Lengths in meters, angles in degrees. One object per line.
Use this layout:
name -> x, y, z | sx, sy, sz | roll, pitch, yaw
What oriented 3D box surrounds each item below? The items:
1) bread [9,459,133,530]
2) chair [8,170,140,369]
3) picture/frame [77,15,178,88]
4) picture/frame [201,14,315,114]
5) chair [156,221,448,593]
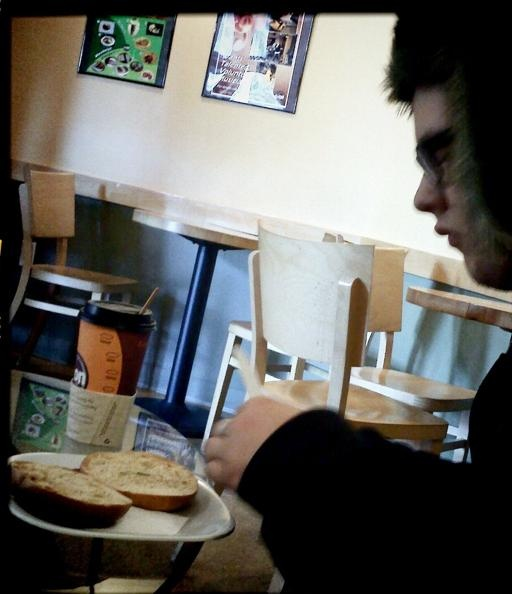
bread -> -0.093, 0.100, 0.265 | 0.047, 0.016, 0.036 | 24, -4, -17
chair -> -0.564, -0.073, 1.615 | 0.371, 0.588, 0.384 | 13, 8, 41
picture/frame -> -0.156, -0.304, 0.632 | 0.104, 0.012, 0.151 | -4, -3, -17
picture/frame -> 0.002, -0.249, 0.538 | 0.097, 0.151, 0.010 | 5, -26, 4
chair -> 0.024, 0.030, 1.007 | 0.454, 0.795, 0.435 | -5, 13, -42
